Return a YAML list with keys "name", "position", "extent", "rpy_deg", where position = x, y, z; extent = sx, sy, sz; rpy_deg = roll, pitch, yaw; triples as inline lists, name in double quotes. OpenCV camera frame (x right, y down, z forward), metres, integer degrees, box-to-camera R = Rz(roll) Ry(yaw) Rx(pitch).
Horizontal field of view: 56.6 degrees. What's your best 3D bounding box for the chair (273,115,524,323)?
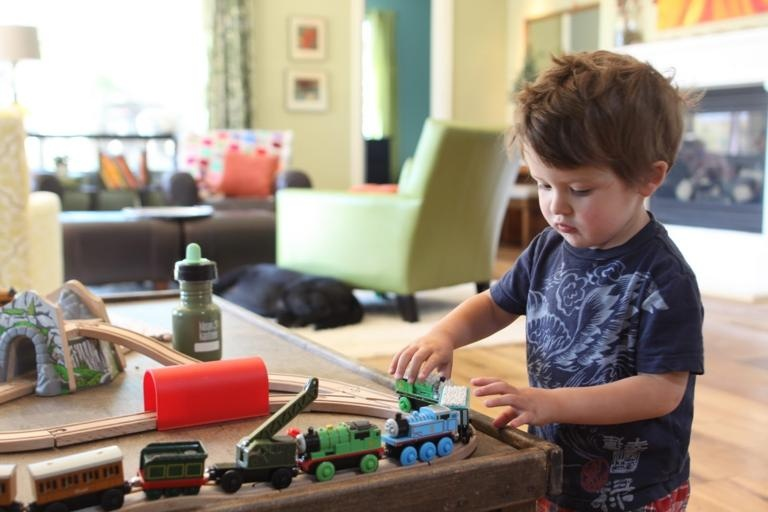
- name: "chair"
  position: [0.075, -0.191, 3.159]
  extent: [0.920, 0.774, 0.734]
  rpy_deg: [6, 11, 42]
